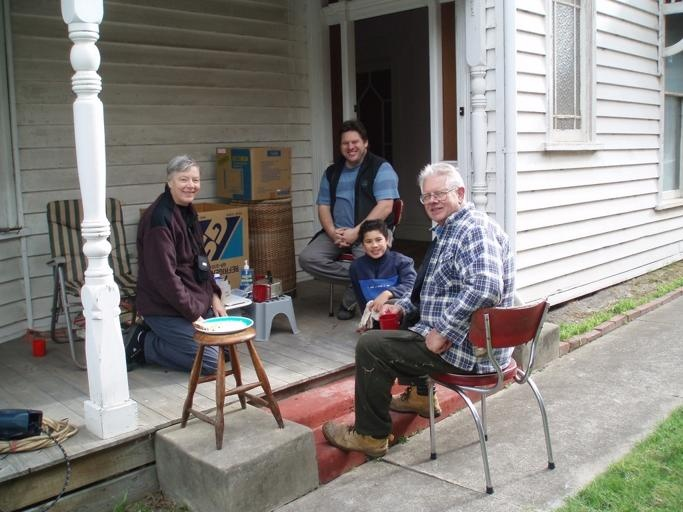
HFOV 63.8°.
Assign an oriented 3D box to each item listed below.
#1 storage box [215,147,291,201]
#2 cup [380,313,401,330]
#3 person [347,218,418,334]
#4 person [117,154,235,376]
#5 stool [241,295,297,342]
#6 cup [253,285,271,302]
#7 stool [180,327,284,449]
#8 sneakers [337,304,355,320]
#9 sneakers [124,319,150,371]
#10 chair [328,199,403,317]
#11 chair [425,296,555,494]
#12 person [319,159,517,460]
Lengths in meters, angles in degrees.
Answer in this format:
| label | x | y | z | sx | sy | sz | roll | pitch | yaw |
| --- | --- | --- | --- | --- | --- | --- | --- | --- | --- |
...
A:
| label | x | y | z | sx | sy | sz | roll | pitch | yaw |
| --- | --- | --- | --- | --- | --- | --- | --- | --- | --- |
| storage box | -0.955 | -0.899 | 5.930 | 0.761 | 0.526 | 0.752 | -5 | 12 | -24 |
| cup | 0.296 | 0.413 | 3.443 | 0.113 | 0.079 | 0.094 | 0 | 2 | -4 |
| person | 0.340 | 0.193 | 4.492 | 0.531 | 0.958 | 0.657 | -13 | 20 | -10 |
| person | -1.245 | 0.077 | 3.945 | 0.705 | 1.549 | 0.493 | -8 | 12 | -20 |
| stool | -0.654 | 0.493 | 4.812 | 0.399 | 0.289 | 0.393 | -12 | 11 | -42 |
| cup | -0.687 | 0.321 | 4.652 | 0.153 | 0.133 | 0.123 | 1 | 2 | 10 |
| stool | -0.654 | 0.731 | 3.206 | 0.513 | 0.580 | 0.473 | -4 | 4 | -29 |
| sneakers | 0.041 | 0.549 | 5.261 | 0.085 | 0.150 | 0.223 | 0 | -6 | 18 |
| sneakers | -1.535 | 0.656 | 4.066 | 0.105 | 0.335 | 0.205 | 4 | -2 | 26 |
| chair | 0.215 | -0.047 | 5.260 | 0.583 | 0.935 | 0.651 | 3 | 10 | 25 |
| chair | 0.858 | 0.787 | 3.328 | 0.612 | 1.022 | 0.673 | -6 | 3 | -35 |
| person | 0.509 | 0.329 | 3.479 | 1.133 | 1.657 | 0.825 | 3 | 3 | 23 |
